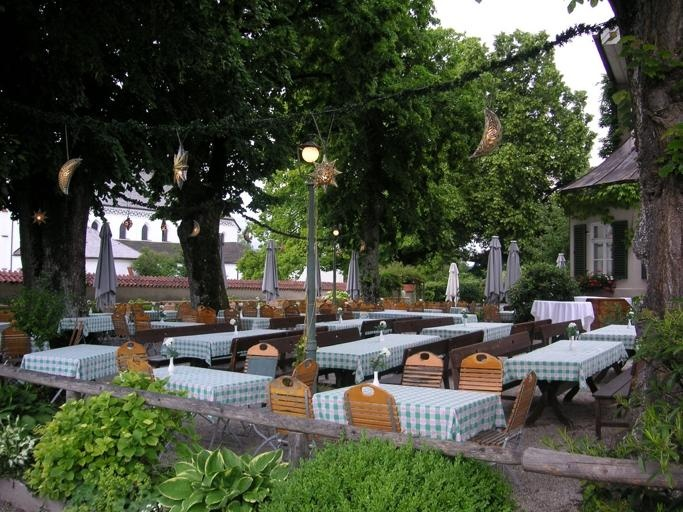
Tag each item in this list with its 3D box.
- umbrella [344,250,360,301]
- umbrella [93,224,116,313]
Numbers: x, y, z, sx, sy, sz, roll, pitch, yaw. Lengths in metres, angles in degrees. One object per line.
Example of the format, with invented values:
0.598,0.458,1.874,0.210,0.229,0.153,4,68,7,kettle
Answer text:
0.566,0.743,26.483,0.470,1.676,0.703,-3,-2,12,umbrella
-7.180,0.204,18.934,0.609,2.710,1.897,-2,-2,-22,umbrella
